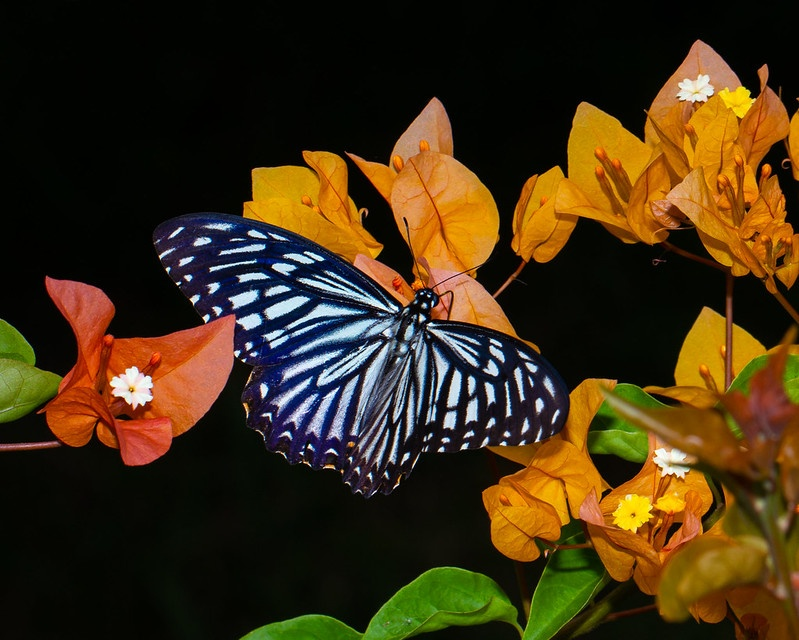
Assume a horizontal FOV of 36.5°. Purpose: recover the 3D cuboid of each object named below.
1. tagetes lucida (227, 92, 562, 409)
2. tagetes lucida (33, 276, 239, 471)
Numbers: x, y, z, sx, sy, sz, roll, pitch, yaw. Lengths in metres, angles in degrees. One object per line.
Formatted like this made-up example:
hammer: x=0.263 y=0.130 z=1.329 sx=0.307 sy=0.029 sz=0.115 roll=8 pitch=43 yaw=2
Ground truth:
tagetes lucida: x=0.009 y=-0.137 z=1.534 sx=0.390 sy=0.259 sz=0.191 roll=5 pitch=20 yaw=20
tagetes lucida: x=-0.339 y=0.088 z=1.417 sx=0.153 sy=0.093 sz=0.171 roll=29 pitch=21 yaw=4
